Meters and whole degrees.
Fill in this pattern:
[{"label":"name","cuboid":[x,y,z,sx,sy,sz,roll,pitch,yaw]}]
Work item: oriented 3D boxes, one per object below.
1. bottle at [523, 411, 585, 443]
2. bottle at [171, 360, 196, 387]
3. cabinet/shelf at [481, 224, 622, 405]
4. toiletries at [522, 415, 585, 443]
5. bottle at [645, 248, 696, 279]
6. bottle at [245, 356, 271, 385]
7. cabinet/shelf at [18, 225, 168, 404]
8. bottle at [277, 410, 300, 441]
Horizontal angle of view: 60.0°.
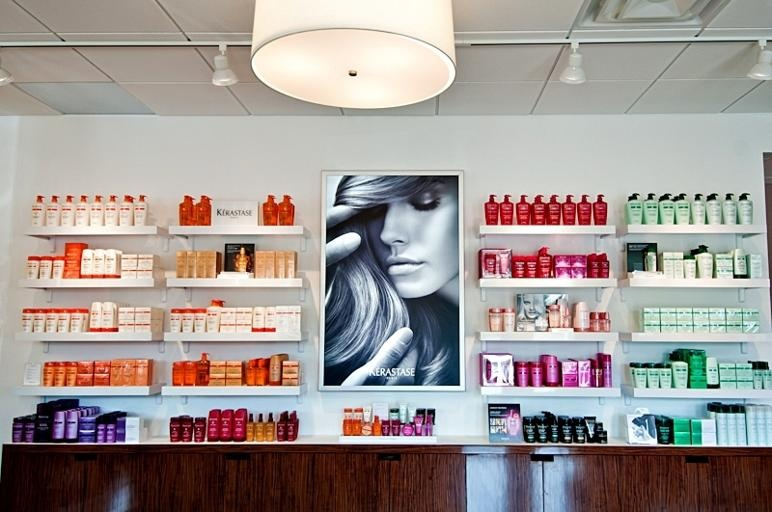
[{"label":"bottle","cuboid":[1.254,1.287,5.067,0.338,0.174,0.241,0,-3,4]},{"label":"bottle","cuboid":[-1.545,0.896,5.106,0.204,0.182,0.099,0,-3,1]},{"label":"cabinet/shelf","cuboid":[1.259,0.506,5.131,1.396,1.513,0.465,1,-7,-2]},{"label":"toiletries","cuboid":[1.237,1.290,4.899,0.329,0.152,0.236,0,-14,-1]},{"label":"bottle","cuboid":[2.186,0.063,5.204,0.302,0.231,0.319,4,0,0]},{"label":"bottle","cuboid":[-0.980,0.888,5.178,0.196,0.185,0.194,0,-3,9]},{"label":"cabinet/shelf","cuboid":[-2.278,0.513,5.193,1.404,1.560,0.517,-1,-7,-1]},{"label":"bottle","cuboid":[-0.741,1.290,5.088,0.140,0.216,0.179,-5,-13,15]}]
